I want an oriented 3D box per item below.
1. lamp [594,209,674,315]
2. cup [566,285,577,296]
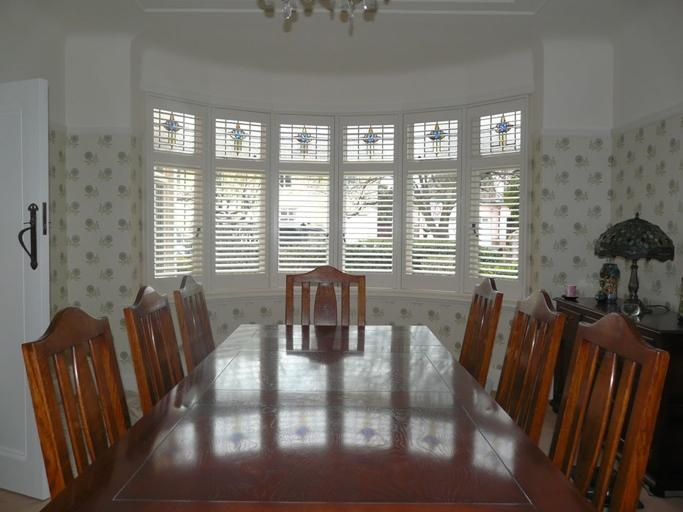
[{"bbox_3d":[1.597,0.002,3.063,0.449,0.641,0.487,-2,7,-14],"label":"lamp"},{"bbox_3d":[1.509,0.225,3.458,0.075,0.080,0.065,-2,0,29],"label":"cup"}]
